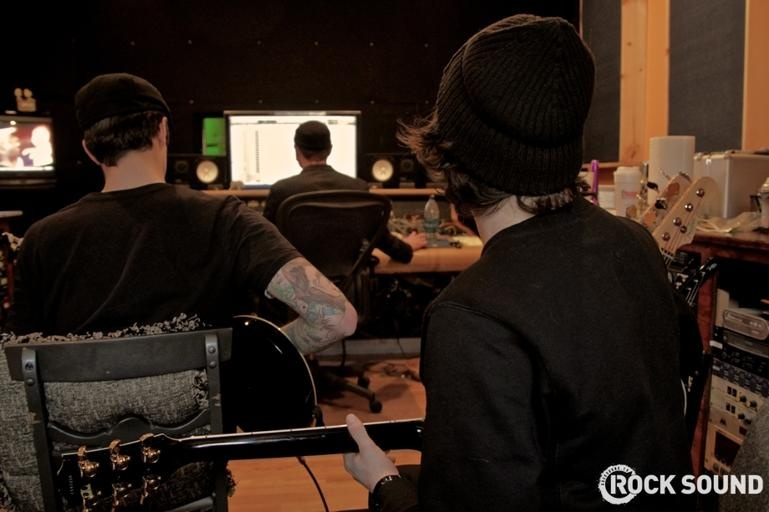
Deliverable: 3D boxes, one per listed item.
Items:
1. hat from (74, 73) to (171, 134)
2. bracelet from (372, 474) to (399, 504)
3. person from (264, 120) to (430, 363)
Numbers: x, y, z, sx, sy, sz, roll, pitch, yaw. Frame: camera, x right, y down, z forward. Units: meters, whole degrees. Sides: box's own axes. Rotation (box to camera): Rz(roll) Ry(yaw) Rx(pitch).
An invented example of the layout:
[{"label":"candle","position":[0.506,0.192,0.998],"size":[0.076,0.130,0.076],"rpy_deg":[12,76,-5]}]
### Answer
[{"label":"hat","position":[-0.914,-0.526,2.196],"size":[0.239,0.134,0.232],"rpy_deg":[-7,14,-25]},{"label":"bracelet","position":[-0.006,0.601,1.644],"size":[0.067,0.065,0.066],"rpy_deg":[7,9,20]},{"label":"person","position":[-0.113,-0.129,3.694],"size":[1.414,1.006,0.753],"rpy_deg":[-2,21,2]}]
